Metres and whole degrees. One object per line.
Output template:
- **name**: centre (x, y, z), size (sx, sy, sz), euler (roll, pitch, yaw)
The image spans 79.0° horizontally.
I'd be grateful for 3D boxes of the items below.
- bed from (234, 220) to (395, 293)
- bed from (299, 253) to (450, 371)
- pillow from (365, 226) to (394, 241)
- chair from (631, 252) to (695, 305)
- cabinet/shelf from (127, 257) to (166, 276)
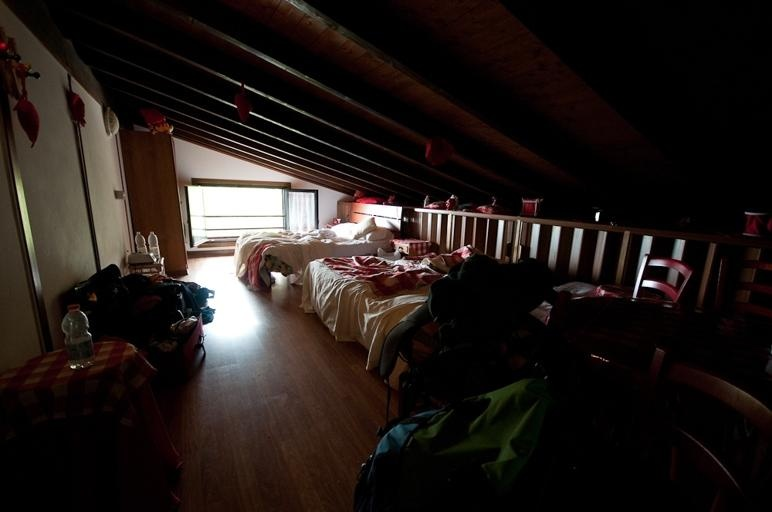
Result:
- **bed**: centre (-0.907, -0.112, 6.073), size (1.342, 0.433, 1.285), euler (-2, 10, -24)
- **bed**: centre (-0.246, 0.483, 4.265), size (0.762, 0.319, 1.085), euler (-1, 27, -30)
- **pillow**: centre (-0.077, -0.294, 6.288), size (0.233, 0.111, 0.226), euler (-6, 14, -24)
- **chair**: centre (2.034, 0.163, 3.422), size (0.271, 0.377, 0.279), euler (4, 15, -40)
- **cabinet/shelf**: centre (-2.448, 0.105, 4.765), size (0.255, 0.237, 0.355), euler (-1, 5, -13)
